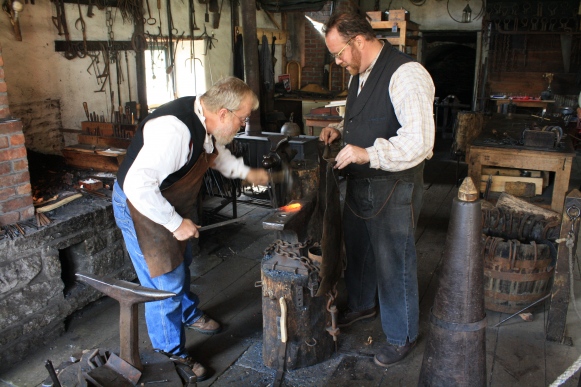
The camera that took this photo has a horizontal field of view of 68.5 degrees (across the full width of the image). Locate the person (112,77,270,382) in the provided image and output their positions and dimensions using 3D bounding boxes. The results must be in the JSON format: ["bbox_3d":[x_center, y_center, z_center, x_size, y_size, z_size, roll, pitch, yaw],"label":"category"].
[{"bbox_3d":[-0.849,0.326,3.730,1.046,2.570,0.684,-14,21,-34],"label":"person"}]

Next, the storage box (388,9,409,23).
[{"bbox_3d":[1.913,-3.097,7.561,0.306,0.180,0.293,3,13,20],"label":"storage box"}]

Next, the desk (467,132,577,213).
[{"bbox_3d":[3.398,-0.518,6.352,1.409,1.289,1.072,6,16,26],"label":"desk"}]

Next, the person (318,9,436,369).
[{"bbox_3d":[0.745,0.012,3.728,0.893,3.063,0.753,16,24,43],"label":"person"}]

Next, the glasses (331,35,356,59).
[{"bbox_3d":[0.425,-1.221,3.515,0.046,0.159,0.154,37,6,15],"label":"glasses"}]

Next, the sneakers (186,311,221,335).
[{"bbox_3d":[-0.878,1.306,4.264,0.299,0.120,0.188,6,18,16],"label":"sneakers"}]

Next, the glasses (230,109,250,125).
[{"bbox_3d":[-0.443,-0.640,3.528,0.127,0.040,0.129,-28,62,-36],"label":"glasses"}]

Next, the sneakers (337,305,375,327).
[{"bbox_3d":[0.651,1.250,4.293,0.455,0.187,0.164,-1,9,-16],"label":"sneakers"}]

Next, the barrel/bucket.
[{"bbox_3d":[2.264,0.779,4.580,0.752,0.753,0.814,-1,13,0],"label":"barrel/bucket"}]
